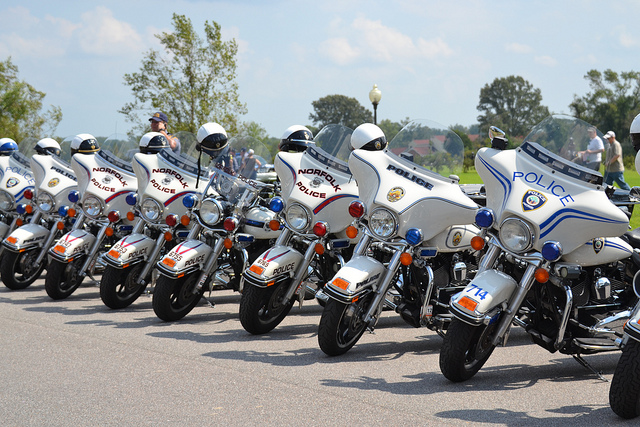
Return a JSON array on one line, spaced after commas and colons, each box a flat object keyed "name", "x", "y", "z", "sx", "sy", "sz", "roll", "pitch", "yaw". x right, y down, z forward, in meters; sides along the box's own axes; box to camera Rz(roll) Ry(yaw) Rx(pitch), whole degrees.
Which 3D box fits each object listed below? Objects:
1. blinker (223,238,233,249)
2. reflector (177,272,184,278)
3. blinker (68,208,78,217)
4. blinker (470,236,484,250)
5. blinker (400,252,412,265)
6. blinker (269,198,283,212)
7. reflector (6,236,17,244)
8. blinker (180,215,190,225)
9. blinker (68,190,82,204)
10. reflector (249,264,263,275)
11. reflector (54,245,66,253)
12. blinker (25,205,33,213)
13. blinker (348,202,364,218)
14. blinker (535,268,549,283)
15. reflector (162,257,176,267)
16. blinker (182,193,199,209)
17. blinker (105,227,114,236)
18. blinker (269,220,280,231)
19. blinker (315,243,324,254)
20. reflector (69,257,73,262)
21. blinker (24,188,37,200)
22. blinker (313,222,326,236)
[{"name": "blinker", "x": -1.257, "y": 0.421, "z": 9.101, "sx": 0.119, "sy": 0.106, "sz": 0.116, "roll": 2, "pitch": 17, "yaw": 9}, {"name": "reflector", "x": -1.865, "y": 0.830, "z": 8.835, "sx": 0.063, "sy": 0.060, "sz": 0.016, "roll": -13, "pitch": 31, "yaw": -42}, {"name": "blinker", "x": -4.186, "y": -0.007, "z": 11.166, "sx": 0.116, "sy": 0.076, "sz": 0.113, "roll": 5, "pitch": 23, "yaw": 4}, {"name": "blinker", "x": 1.687, "y": 0.323, "z": 7.052, "sx": 0.131, "sy": 0.151, "sz": 0.109, "roll": 2, "pitch": 8, "yaw": 10}, {"name": "blinker", "x": 1.012, "y": 0.531, "z": 7.732, "sx": 0.142, "sy": 0.167, "sz": 0.245, "roll": 2, "pitch": 8, "yaw": 7}, {"name": "blinker", "x": -0.570, "y": -0.107, "z": 8.707, "sx": 0.166, "sy": 0.181, "sz": 0.061, "roll": 4, "pitch": 9, "yaw": 21}, {"name": "reflector", "x": -5.115, "y": 0.446, "z": 11.008, "sx": 0.186, "sy": 0.092, "sz": 0.021, "roll": 20, "pitch": -11, "yaw": 22}, {"name": "blinker", "x": -1.905, "y": 0.100, "z": 9.367, "sx": 0.114, "sy": 0.071, "sz": 0.112, "roll": -1, "pitch": 4, "yaw": 3}, {"name": "blinker", "x": -4.100, "y": -0.278, "z": 11.082, "sx": 0.186, "sy": 0.192, "sz": 0.107, "roll": 44, "pitch": 33, "yaw": 20}, {"name": "reflector", "x": -0.793, "y": 0.715, "z": 8.311, "sx": 0.139, "sy": 0.079, "sz": 0.015, "roll": 25, "pitch": -21, "yaw": 36}, {"name": "reflector", "x": -3.990, "y": 0.554, "z": 10.173, "sx": 0.157, "sy": 0.103, "sz": 0.037, "roll": 22, "pitch": -9, "yaw": 13}, {"name": "blinker", "x": -5.286, "y": -0.079, "z": 12.025, "sx": 0.109, "sy": 0.108, "sz": 0.132, "roll": -40, "pitch": -25, "yaw": 27}, {"name": "blinker", "x": 0.438, "y": -0.037, "z": 7.823, "sx": 0.169, "sy": 0.187, "sz": 0.081, "roll": 1, "pitch": 8, "yaw": 0}, {"name": "blinker", "x": 2.305, "y": 0.650, "z": 6.848, "sx": 0.138, "sy": 0.158, "sz": 0.111, "roll": 1, "pitch": 8, "yaw": -2}, {"name": "reflector", "x": -2.013, "y": 0.660, "z": 8.830, "sx": 0.159, "sy": 0.107, "sz": 0.038, "roll": 29, "pitch": -12, "yaw": 30}, {"name": "blinker", "x": -1.807, "y": -0.171, "z": 9.292, "sx": 0.169, "sy": 0.167, "sz": 0.096, "roll": -30, "pitch": 6, "yaw": 14}, {"name": "blinker", "x": -3.336, "y": 0.294, "z": 10.490, "sx": 0.125, "sy": 0.084, "sz": 0.108, "roll": 1, "pitch": -6, "yaw": -4}, {"name": "blinker", "x": -0.591, "y": 0.154, "z": 8.693, "sx": 0.119, "sy": 0.114, "sz": 0.134, "roll": 11, "pitch": -12, "yaw": 1}, {"name": "blinker", "x": 0.002, "y": 0.459, "z": 8.487, "sx": 0.107, "sy": 0.104, "sz": 0.121, "roll": 18, "pitch": -26, "yaw": 10}, {"name": "reflector", "x": -3.838, "y": 0.711, "z": 10.190, "sx": 0.072, "sy": 0.066, "sz": 0.020, "roll": 2, "pitch": -9, "yaw": 41}, {"name": "blinker", "x": -5.163, "y": -0.347, "z": 11.798, "sx": 0.121, "sy": 0.157, "sz": 0.204, "roll": -28, "pitch": 6, "yaw": -3}, {"name": "blinker", "x": 0.004, "y": 0.201, "z": 8.366, "sx": 0.162, "sy": 0.174, "sz": 0.103, "roll": 10, "pitch": 4, "yaw": 27}]
